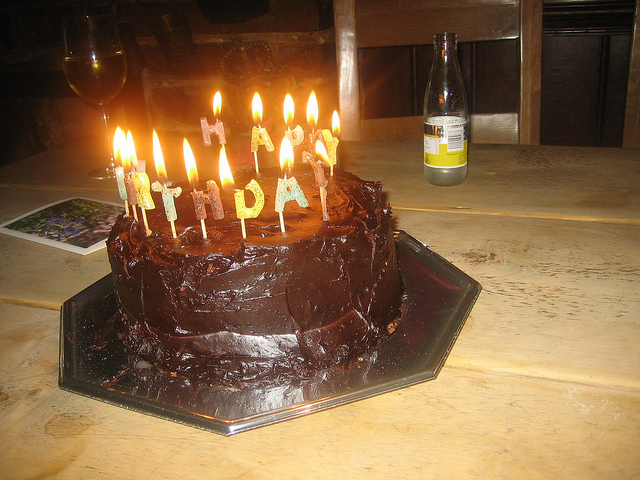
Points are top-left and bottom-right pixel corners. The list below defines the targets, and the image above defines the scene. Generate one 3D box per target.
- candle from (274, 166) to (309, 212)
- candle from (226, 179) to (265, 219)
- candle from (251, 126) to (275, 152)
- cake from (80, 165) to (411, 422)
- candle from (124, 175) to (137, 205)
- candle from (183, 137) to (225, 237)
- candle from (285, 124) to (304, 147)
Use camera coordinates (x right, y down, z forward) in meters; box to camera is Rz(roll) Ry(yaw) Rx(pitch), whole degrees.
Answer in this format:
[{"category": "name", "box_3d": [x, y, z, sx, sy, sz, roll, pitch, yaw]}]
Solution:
[{"category": "candle", "box_3d": [-0.043, -0.073, 0.788, 0.043, 0.070, 0.092, -2, 19, 0]}, {"category": "candle", "box_3d": [-0.115, -0.060, 0.790, 0.053, 0.061, 0.099, -5, 19, -9]}, {"category": "candle", "box_3d": [-0.120, -0.206, 1.057, 0.042, 0.048, 0.085, -5, 19, -8]}, {"category": "cake", "box_3d": [-0.110, 0.024, 0.808, 0.529, 0.275, 0.450, -9, 20, -22]}, {"category": "candle", "box_3d": [-0.301, -0.078, 0.817, 0.014, 0.054, 0.041, -11, 22, -20]}, {"category": "candle", "box_3d": [-0.191, -0.097, 0.844, 0.052, 0.129, 0.223, -7, 20, -12]}, {"category": "candle", "box_3d": [-0.048, -0.206, 1.003, 0.041, 0.048, 0.017, -8, -18, -15]}]
